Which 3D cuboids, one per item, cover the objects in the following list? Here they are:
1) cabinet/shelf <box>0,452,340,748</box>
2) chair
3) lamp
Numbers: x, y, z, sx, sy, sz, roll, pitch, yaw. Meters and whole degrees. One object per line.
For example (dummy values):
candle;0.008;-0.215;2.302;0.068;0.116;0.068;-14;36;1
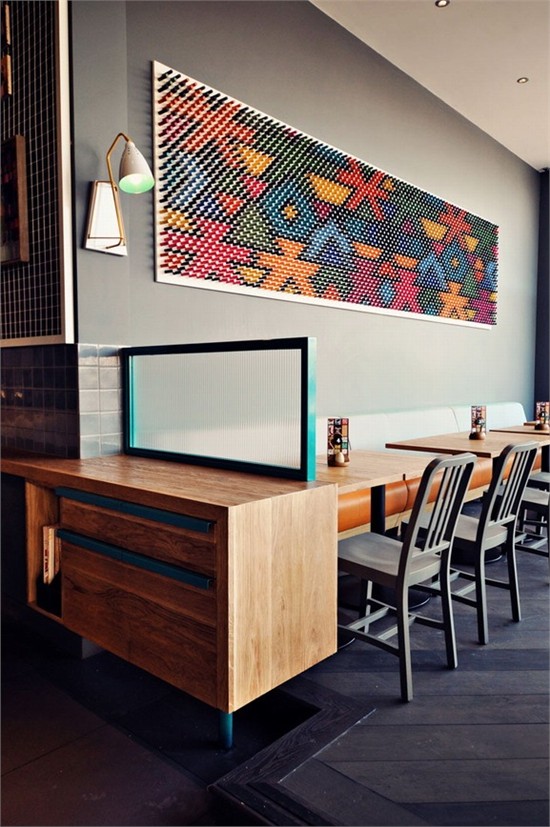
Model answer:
cabinet/shelf;-0.314;0.441;1.923;0.927;0.520;0.459;1;3;39
chair;0.634;0.615;2.391;0.263;0.565;0.678;3;4;41
lamp;-0.541;-0.852;2.365;0.267;0.472;0.267;0;2;24
